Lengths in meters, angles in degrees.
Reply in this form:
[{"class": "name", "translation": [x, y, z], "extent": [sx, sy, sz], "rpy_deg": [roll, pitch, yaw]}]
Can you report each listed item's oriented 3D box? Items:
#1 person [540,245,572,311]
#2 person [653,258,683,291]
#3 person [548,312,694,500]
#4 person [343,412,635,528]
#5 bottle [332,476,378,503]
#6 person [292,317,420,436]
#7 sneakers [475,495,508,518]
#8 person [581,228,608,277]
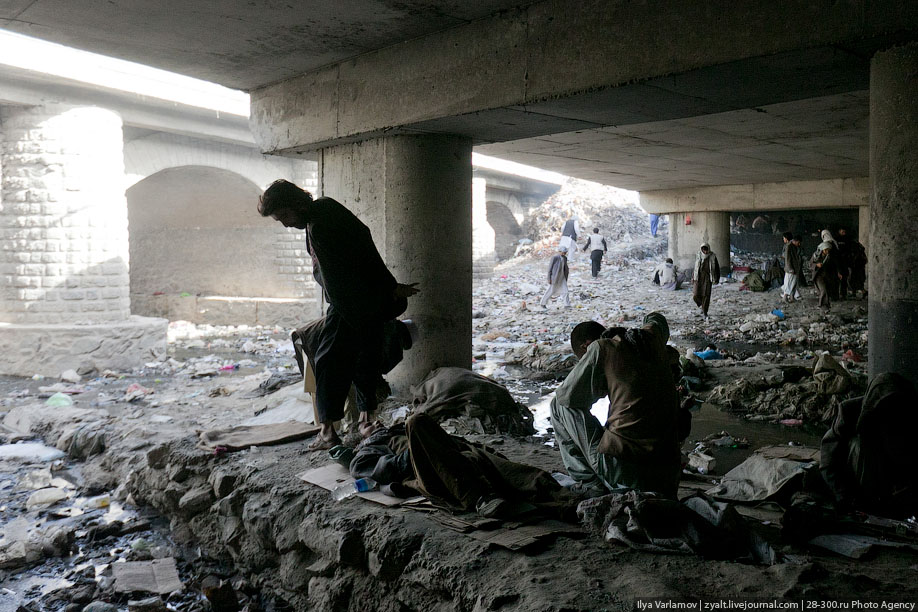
[{"class": "person", "translation": [2.251, -0.671, 14.960], "extent": [0.611, 1.329, 1.290], "rpy_deg": [-2, 2, 9]}, {"class": "person", "translation": [5.765, -0.869, 17.557], "extent": [0.569, 0.869, 0.946], "rpy_deg": [-3, 2, -4]}, {"class": "person", "translation": [1.266, 0.799, 4.688], "extent": [1.097, 1.468, 0.980], "rpy_deg": [-3, 1, -6]}, {"class": "person", "translation": [-0.115, 1.159, 4.964], "extent": [1.063, 0.545, 1.765], "rpy_deg": [11, -13, -39]}, {"class": "bottle", "translation": [-0.792, 1.365, 4.823], "extent": [0.305, 0.069, 0.152], "rpy_deg": [-9, 16, -21]}, {"class": "person", "translation": [-1.082, 0.591, 5.706], "extent": [0.404, 1.036, 1.057], "rpy_deg": [8, 10, 27]}, {"class": "sneakers", "translation": [0.219, 1.363, 4.365], "extent": [0.208, 0.123, 0.106], "rpy_deg": [-2, 2, 1]}, {"class": "person", "translation": [4.259, -1.679, 19.905], "extent": [0.576, 1.598, 1.038], "rpy_deg": [-2, 2, 7]}]
